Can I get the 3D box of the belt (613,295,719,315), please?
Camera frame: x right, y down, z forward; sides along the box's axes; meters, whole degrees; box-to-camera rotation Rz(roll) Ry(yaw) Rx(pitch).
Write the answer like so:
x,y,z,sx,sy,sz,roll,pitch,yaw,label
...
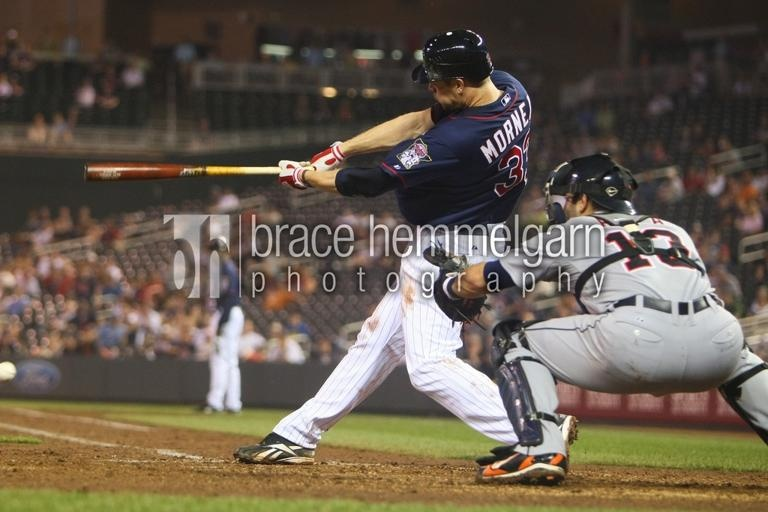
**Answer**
x,y,z,sx,sy,sz,roll,pitch,yaw,label
4.607,0.733,23.331,1.674,0.317,0.300,1,-1,6,belt
